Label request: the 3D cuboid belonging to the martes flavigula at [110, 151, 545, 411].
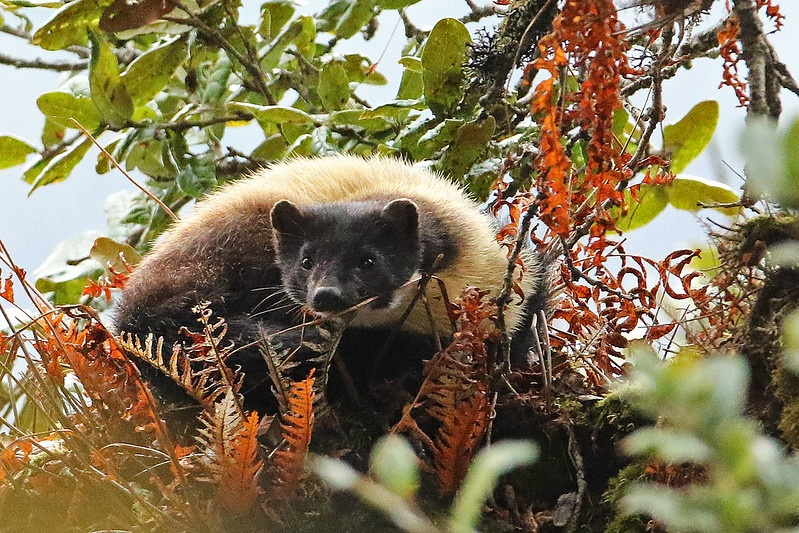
[{"bbox_3d":[-0.238,-0.009,4.363,1.044,0.797,0.540,5,-85,43],"label":"martes flavigula"}]
